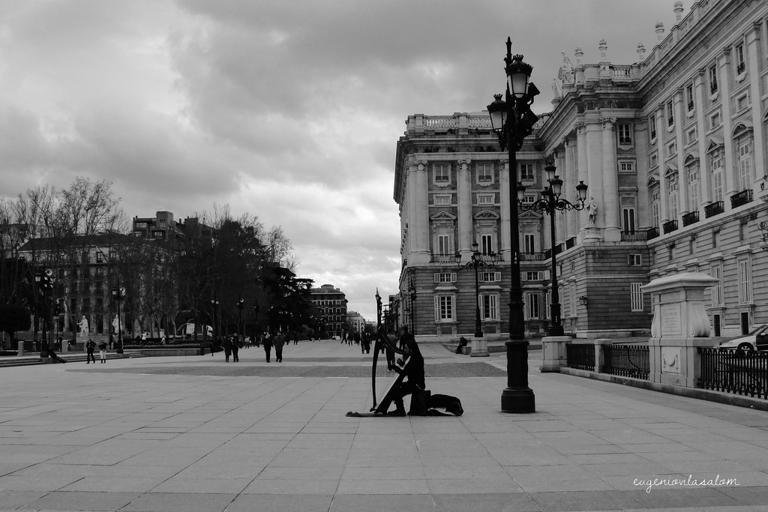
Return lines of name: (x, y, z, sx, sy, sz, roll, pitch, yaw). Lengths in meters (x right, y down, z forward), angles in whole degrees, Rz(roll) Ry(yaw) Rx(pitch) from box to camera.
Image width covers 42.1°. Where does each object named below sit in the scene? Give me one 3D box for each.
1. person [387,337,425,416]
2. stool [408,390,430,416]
person: (0.926, 4.305, 35.151, 1.474, 2.611, 1.161, 0, -10, 24)
stool: (1.095, 5.164, 35.072, 0.917, 1.019, 0.785, 2, -9, -10)
